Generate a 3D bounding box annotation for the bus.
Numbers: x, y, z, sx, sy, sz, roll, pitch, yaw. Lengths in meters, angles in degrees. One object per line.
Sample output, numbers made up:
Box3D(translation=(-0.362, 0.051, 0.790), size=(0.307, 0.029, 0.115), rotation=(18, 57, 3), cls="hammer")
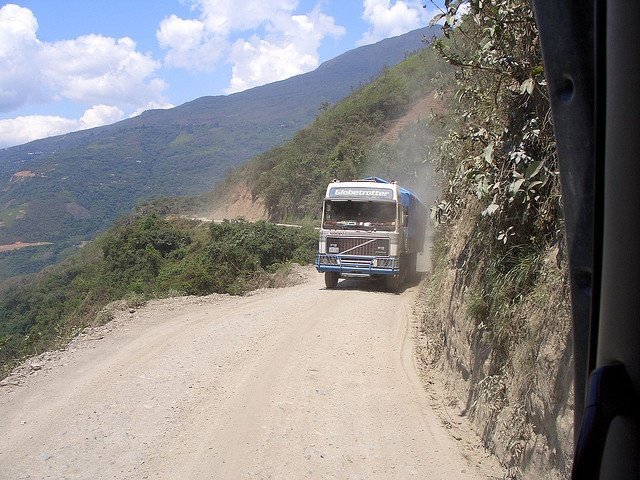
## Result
Box3D(translation=(2.120, -0.195, 17.535), size=(2.127, 3.063, 5.956), rotation=(1, -2, 11), cls="bus")
